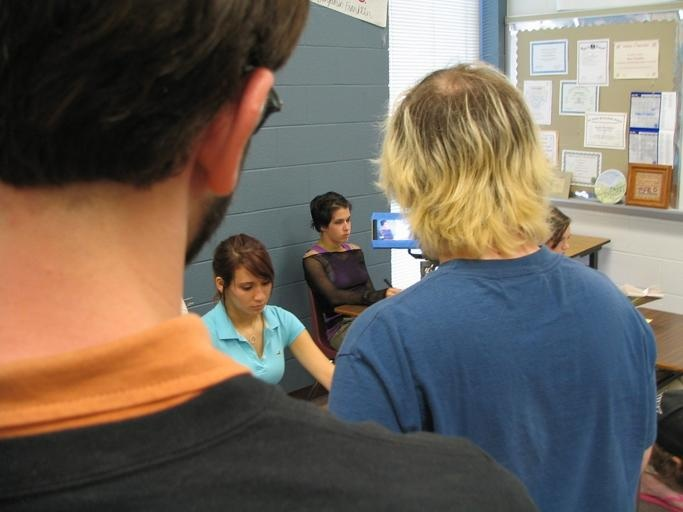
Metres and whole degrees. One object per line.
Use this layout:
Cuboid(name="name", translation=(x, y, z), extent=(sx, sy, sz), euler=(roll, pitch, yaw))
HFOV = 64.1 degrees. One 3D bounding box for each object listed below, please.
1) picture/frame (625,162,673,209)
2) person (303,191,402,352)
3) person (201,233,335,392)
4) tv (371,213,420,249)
Cuboid(name="picture/frame", translation=(2.692, -0.609, 4.728), extent=(0.037, 0.365, 0.343), euler=(-5, 16, -40))
Cuboid(name="person", translation=(0.105, 0.239, 3.966), extent=(0.564, 1.361, 0.744), euler=(-10, 10, -38))
Cuboid(name="person", translation=(-0.417, 0.362, 2.928), extent=(0.703, 0.880, 0.811), euler=(-5, 1, -5))
Cuboid(name="tv", translation=(0.300, -0.140, 3.167), extent=(0.316, 0.231, 0.041), euler=(0, -14, -1))
